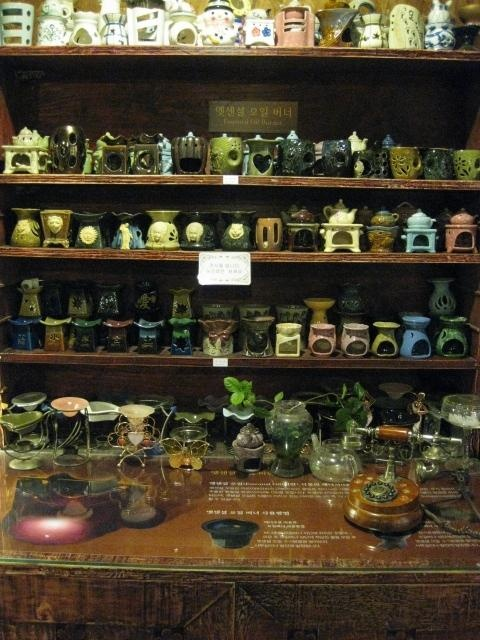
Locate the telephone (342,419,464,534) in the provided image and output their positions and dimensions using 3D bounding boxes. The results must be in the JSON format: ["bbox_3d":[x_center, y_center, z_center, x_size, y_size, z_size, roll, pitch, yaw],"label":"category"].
[{"bbox_3d":[0.411,0.445,1.681,0.327,0.214,0.307,4,15,29],"label":"telephone"}]
